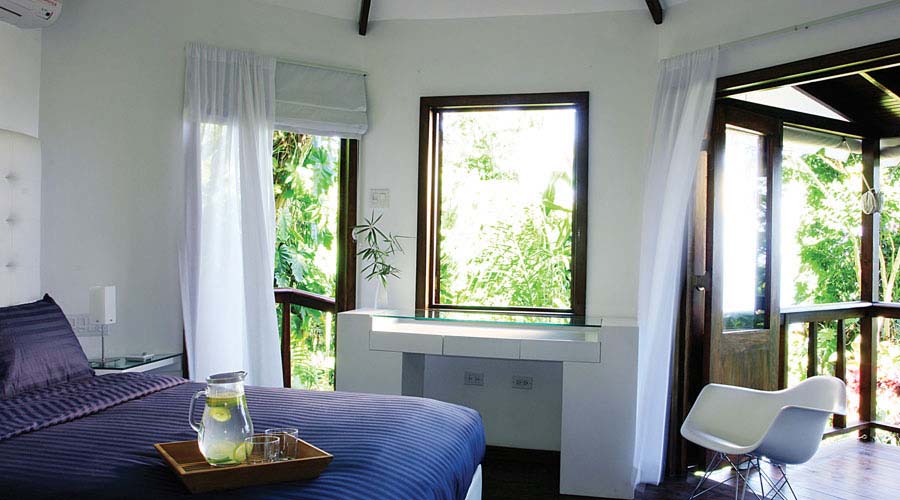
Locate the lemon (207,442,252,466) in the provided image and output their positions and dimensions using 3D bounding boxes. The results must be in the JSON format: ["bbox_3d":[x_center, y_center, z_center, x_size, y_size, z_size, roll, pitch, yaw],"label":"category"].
[{"bbox_3d":[-1.224,1.144,3.355,0.170,0.073,0.165,2,-5,-19],"label":"lemon"}]

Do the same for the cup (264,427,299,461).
[{"bbox_3d":[-0.983,1.126,3.495,0.152,0.127,0.184,1,2,3],"label":"cup"}]

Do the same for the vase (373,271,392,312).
[{"bbox_3d":[-0.668,0.407,5.787,0.303,0.409,0.305,1,-3,-11],"label":"vase"}]

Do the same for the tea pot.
[{"bbox_3d":[-1.290,0.973,3.448,0.384,0.496,0.297,-3,-1,-34],"label":"tea pot"}]
